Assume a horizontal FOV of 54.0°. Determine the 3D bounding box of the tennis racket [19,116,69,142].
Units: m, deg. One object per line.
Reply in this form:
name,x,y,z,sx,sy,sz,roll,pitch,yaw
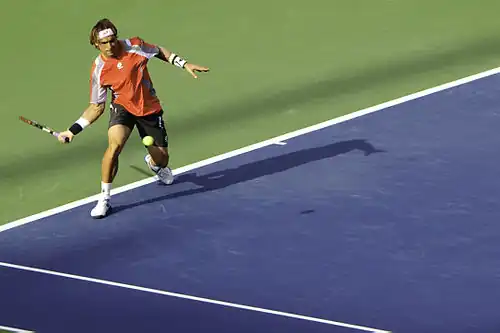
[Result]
tennis racket,-3.496,-0.621,8.273,1.461,0.189,0.109,20,80,35
